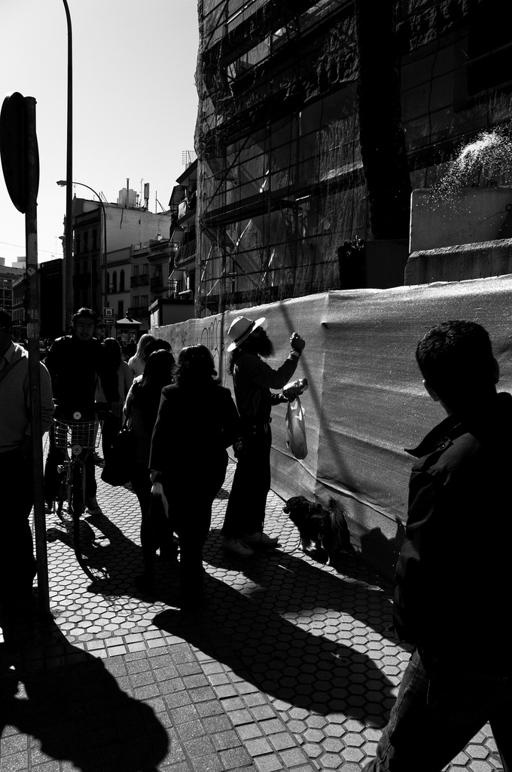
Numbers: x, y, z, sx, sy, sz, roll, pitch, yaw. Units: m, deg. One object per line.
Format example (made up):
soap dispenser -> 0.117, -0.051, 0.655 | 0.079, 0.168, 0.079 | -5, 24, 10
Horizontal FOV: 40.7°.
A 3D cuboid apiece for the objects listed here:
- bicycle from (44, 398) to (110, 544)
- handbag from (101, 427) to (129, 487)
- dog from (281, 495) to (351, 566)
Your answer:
bicycle -> -1.493, 0.619, 5.573 | 0.390, 0.768, 1.053 | 4, -5, -8
handbag -> -0.891, 0.465, 4.429 | 0.149, 0.369, 0.301 | 3, -7, -6
dog -> 0.412, 0.946, 4.749 | 0.148, 0.426, 0.600 | -18, 21, -40
